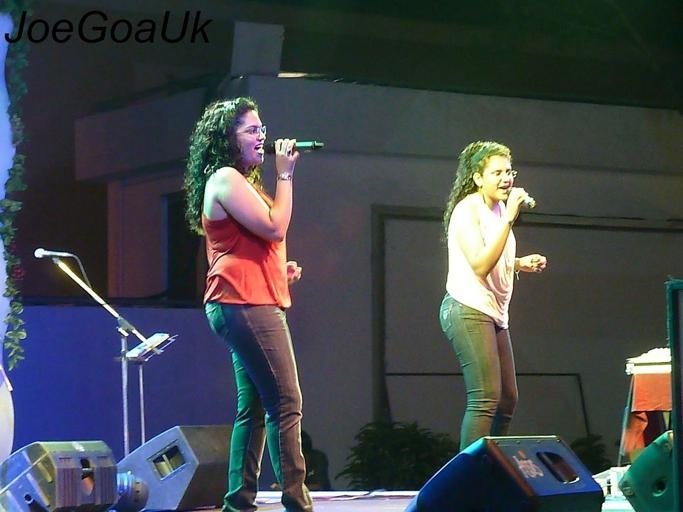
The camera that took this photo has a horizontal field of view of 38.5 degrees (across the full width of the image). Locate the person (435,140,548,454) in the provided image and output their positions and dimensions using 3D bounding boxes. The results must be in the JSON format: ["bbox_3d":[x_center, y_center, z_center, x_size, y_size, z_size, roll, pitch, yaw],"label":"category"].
[{"bbox_3d":[0.791,0.183,5.415,0.501,1.747,0.380,-2,-10,5],"label":"person"}]

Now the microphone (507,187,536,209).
[{"bbox_3d":[0.982,-0.324,5.419,0.129,0.115,0.240,-3,-11,12],"label":"microphone"}]

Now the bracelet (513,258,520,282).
[{"bbox_3d":[1.151,0.091,6.498,0.048,0.174,0.125,-2,5,16],"label":"bracelet"}]

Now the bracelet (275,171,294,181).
[{"bbox_3d":[-0.299,-0.418,5.089,0.052,0.044,0.045,5,-5,26],"label":"bracelet"}]
